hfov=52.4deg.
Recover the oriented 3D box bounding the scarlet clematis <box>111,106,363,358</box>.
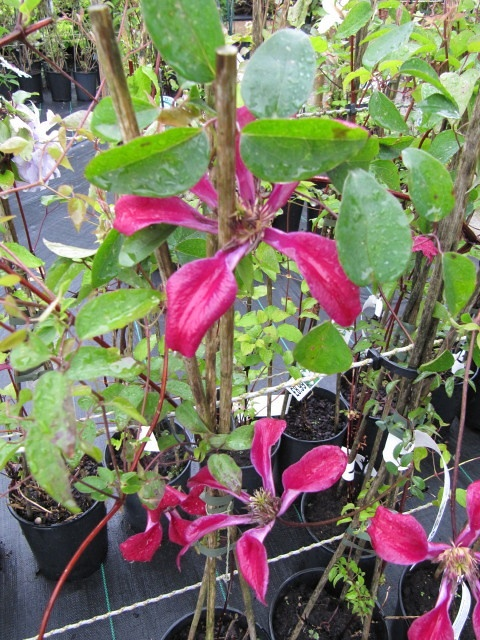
[{"bbox_3d":[-0.008,-0.045,0.437,0.213,0.079,0.210,38,82,11],"label":"scarlet clematis"}]
